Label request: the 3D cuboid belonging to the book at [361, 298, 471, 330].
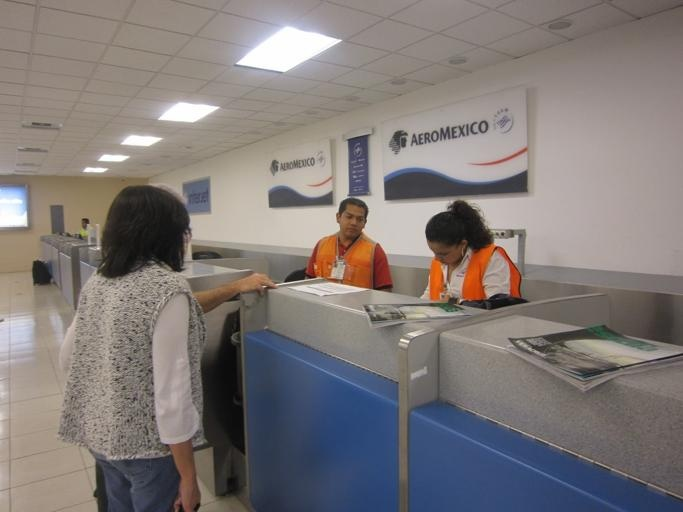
[{"bbox_3d":[0.280,0.232,1.874,0.529,0.039,0.399,-1,6,-8],"label":"book"}]
